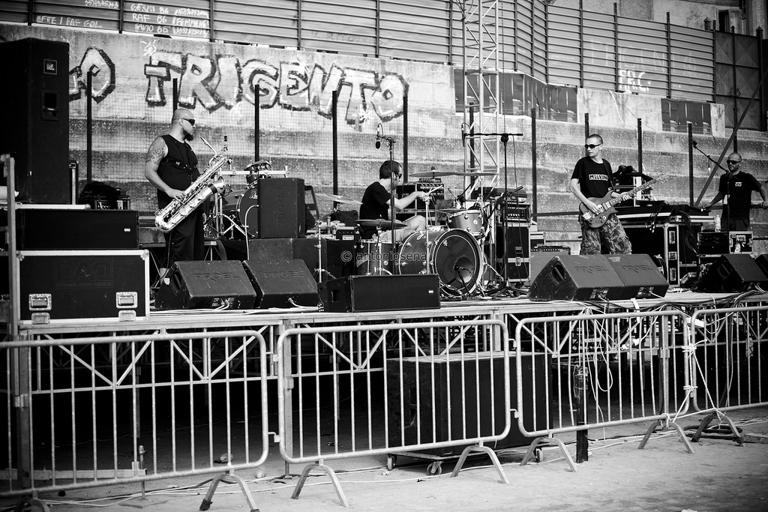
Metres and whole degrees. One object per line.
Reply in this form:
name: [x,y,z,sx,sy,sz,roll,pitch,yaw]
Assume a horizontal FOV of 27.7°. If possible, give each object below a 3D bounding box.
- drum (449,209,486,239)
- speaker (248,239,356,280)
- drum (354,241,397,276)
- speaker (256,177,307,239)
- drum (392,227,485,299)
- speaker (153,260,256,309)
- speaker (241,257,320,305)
drum: [1.307,-0.527,24.407,0.490,0.318,0.472,-5,-1,0]
speaker: [-1.133,-0.036,21.993,0.654,0.780,1.169,0,2,-7]
drum: [-0.150,0.018,22.588,0.516,0.489,0.510,6,-8,-34]
speaker: [-1.409,-0.675,21.558,0.715,0.850,0.287,-4,12,-15]
drum: [0.602,0.058,22.885,1.324,1.245,1.023,-6,0,-41]
speaker: [-2.308,0.383,20.375,1.282,0.633,0.648,-3,12,-8]
speaker: [-1.335,0.349,20.650,0.722,0.421,0.706,1,26,-26]
